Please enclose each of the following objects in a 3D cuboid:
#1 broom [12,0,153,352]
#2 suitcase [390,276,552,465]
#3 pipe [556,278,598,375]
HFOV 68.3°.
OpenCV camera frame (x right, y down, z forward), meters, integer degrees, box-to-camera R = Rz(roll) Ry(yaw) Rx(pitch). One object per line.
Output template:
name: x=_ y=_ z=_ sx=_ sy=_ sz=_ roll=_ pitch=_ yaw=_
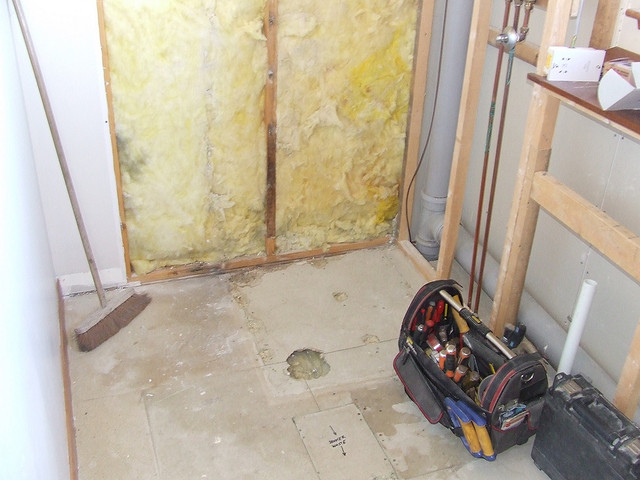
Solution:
broom: x=-1.413 y=-0.312 z=2.725 sx=0.435 sy=1.851 sz=0.746 roll=-6 pitch=33 yaw=-4
suitcase: x=0.786 y=0.652 z=2.560 sx=0.538 sy=0.582 sz=0.783 roll=-15 pitch=36 yaw=-23
pipe: x=1.261 y=0.450 z=2.332 sx=0.066 sy=0.555 sz=0.212 roll=18 pitch=38 yaw=30
